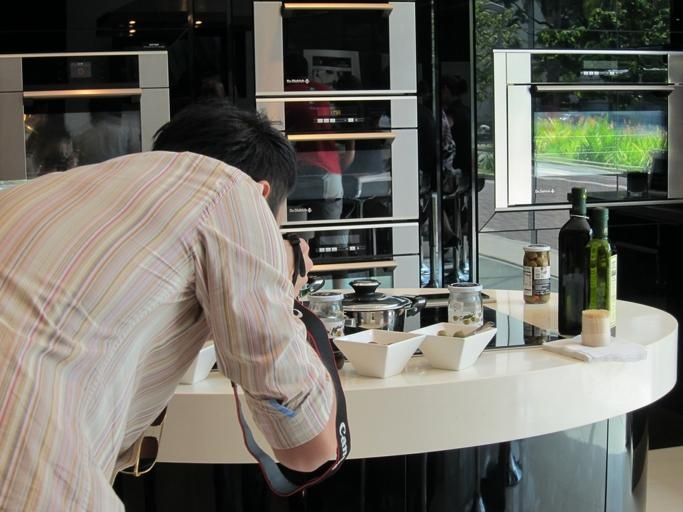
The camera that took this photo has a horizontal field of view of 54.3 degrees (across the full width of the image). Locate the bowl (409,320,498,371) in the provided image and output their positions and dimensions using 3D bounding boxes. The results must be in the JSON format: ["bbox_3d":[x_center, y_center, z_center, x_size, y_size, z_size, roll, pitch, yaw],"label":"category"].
[{"bbox_3d":[0.281,0.221,1.653,0.188,0.100,0.154,1,13,11],"label":"bowl"}]

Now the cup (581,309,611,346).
[{"bbox_3d":[0.648,0.187,1.714,0.068,0.090,0.083,0,-4,2],"label":"cup"}]

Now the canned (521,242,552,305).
[{"bbox_3d":[0.646,0.058,2.195,0.085,0.204,0.070,1,12,8],"label":"canned"}]

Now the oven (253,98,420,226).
[{"bbox_3d":[-0.018,-0.442,2.955,0.627,0.638,0.270,-1,2,-5],"label":"oven"}]

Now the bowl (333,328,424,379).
[{"bbox_3d":[0.084,0.211,1.576,0.117,0.065,0.146,-2,-4,33],"label":"bowl"}]
